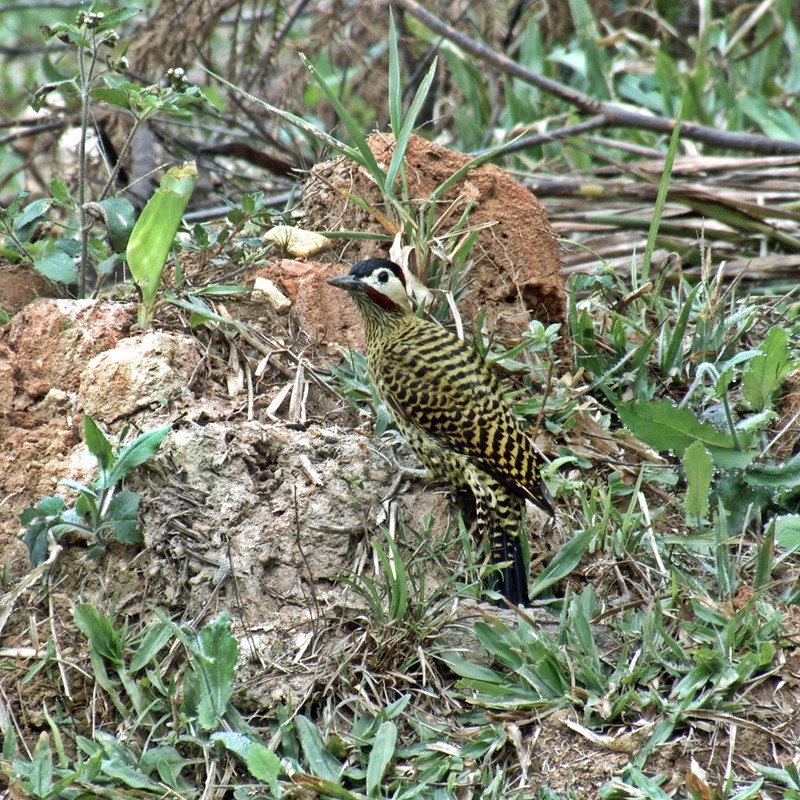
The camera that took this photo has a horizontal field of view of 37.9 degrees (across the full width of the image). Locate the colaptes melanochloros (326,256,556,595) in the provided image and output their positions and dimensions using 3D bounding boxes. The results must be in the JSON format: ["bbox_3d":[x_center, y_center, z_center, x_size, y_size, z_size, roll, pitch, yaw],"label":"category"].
[{"bbox_3d":[0.143,0.136,4.508,1.266,0.724,0.466,40,36,9],"label":"colaptes melanochloros"}]
